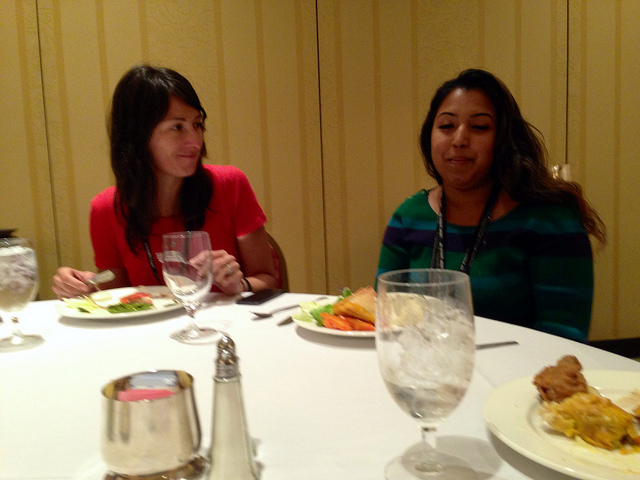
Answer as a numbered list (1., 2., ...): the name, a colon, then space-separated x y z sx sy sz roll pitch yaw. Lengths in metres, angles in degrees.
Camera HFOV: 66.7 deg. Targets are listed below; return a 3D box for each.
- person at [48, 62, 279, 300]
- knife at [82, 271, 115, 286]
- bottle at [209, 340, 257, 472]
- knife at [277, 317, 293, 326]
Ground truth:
1. person: -0.618 -0.269 2.097 0.738 0.921 0.429 -7 13 -23
2. knife: -0.701 0.109 1.520 0.065 0.019 0.067 -17 1 28
3. bottle: -0.123 0.219 0.642 0.058 0.185 0.046 -5 12 -11
4. knife: -0.093 0.203 1.240 0.011 0.010 0.041 11 32 32
